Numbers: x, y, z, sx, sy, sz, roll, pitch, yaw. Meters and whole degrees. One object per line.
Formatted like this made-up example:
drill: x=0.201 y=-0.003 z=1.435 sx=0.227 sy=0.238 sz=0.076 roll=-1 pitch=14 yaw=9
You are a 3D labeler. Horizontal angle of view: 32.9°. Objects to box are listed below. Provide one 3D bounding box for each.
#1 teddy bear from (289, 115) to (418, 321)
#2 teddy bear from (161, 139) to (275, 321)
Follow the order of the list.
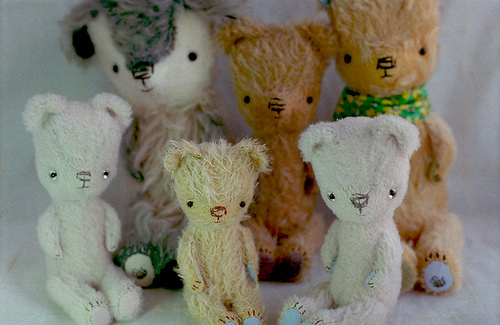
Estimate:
teddy bear: x=0.316 y=0.185 z=2.625 sx=0.359 sy=0.522 sz=0.487 roll=5 pitch=45 yaw=10
teddy bear: x=-0.082 y=0.211 z=2.668 sx=0.327 sy=0.468 sz=0.442 roll=-5 pitch=45 yaw=0
